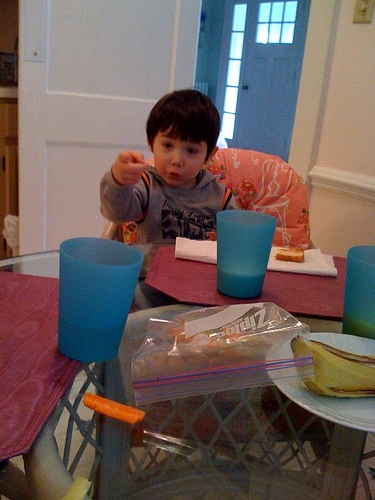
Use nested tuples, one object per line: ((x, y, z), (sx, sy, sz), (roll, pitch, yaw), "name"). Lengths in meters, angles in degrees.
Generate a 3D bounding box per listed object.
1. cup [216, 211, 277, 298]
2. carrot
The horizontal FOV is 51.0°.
((0.057, 0.003, 0.621), (0.115, 0.138, 0.117), (3, 13, -1), "cup")
((-0.058, 0.128, 0.316), (0.058, 0.019, 0.016), (14, -5, 2), "carrot")
